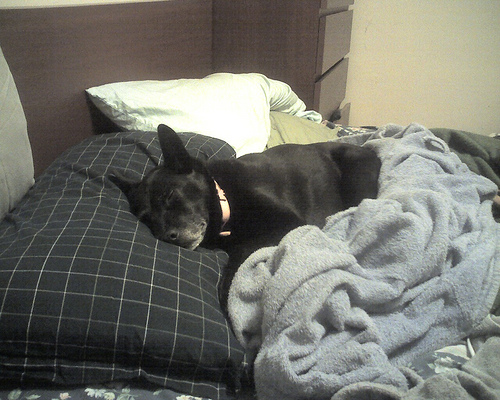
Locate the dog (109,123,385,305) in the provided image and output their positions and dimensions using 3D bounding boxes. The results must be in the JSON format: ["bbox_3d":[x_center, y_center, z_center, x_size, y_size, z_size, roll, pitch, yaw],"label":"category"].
[{"bbox_3d":[0.090,0.014,2.002,1.154,0.551,0.342,-20,3,-43],"label":"dog"}]

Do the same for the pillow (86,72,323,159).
[{"bbox_3d":[-0.176,-0.376,2.230,0.557,0.156,0.492,-3,34,-41],"label":"pillow"}]

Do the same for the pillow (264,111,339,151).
[{"bbox_3d":[0.242,-0.325,2.532,0.300,0.094,0.220,-6,32,-34],"label":"pillow"}]
